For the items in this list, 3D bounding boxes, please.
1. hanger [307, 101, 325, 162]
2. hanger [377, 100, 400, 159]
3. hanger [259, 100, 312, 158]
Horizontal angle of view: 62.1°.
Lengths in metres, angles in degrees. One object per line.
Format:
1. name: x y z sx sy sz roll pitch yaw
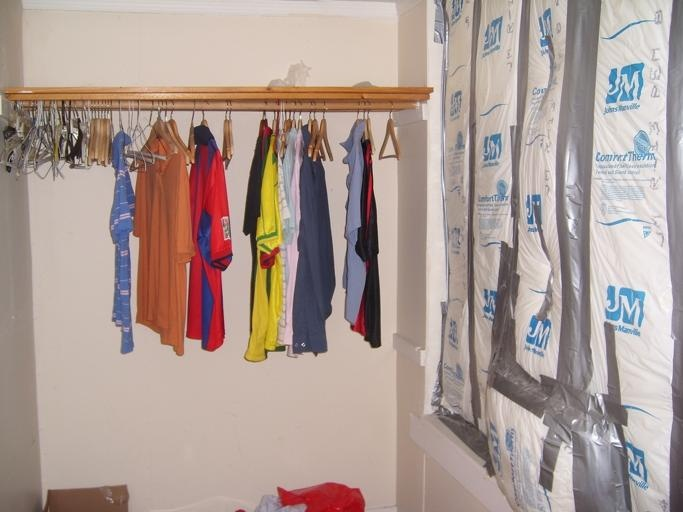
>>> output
1. hanger: -0.116 -0.540 2.640 0.077 0.183 0.210 -1 8 -2
2. hanger: 0.226 -0.558 2.657 0.110 0.232 0.134 -1 6 -11
3. hanger: -0.254 -0.618 2.758 0.242 0.245 0.465 -1 9 -7
